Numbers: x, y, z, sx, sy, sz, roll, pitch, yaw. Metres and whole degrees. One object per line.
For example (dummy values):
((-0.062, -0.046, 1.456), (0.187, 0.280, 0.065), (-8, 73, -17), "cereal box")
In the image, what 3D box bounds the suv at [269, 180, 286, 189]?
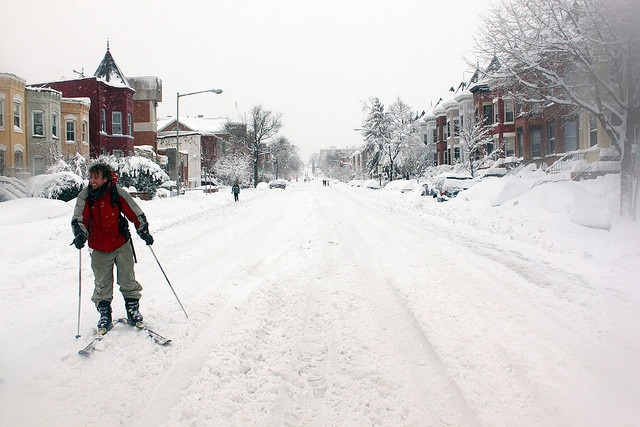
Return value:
((-5.234, -3.686, 59.356), (1.211, 1.200, 2.144), (-1, -3, 11), "suv")

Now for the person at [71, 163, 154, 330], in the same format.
((-3.941, 0.661, 8.748), (1.254, 3.098, 0.715), (-3, 7, -25), "person")

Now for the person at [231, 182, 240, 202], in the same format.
((-6.005, -1.483, 33.130), (0.378, 1.275, 1.946), (-2, 7, -10), "person")
